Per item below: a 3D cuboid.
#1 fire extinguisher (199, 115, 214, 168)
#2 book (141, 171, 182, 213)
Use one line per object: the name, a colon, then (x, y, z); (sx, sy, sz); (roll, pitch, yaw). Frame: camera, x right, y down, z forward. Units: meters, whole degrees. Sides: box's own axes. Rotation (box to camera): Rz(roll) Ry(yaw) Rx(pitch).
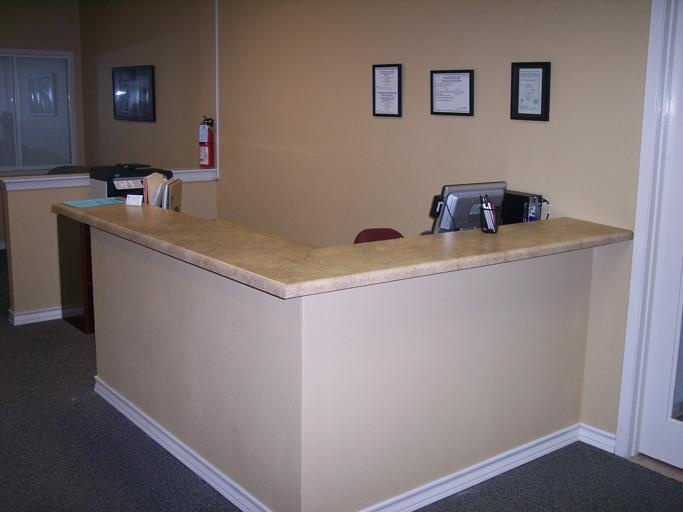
fire extinguisher: (-1.350, -1.151, 5.292); (0.158, 0.495, 0.136); (-4, 15, -18)
book: (-1.206, -0.426, 3.477); (0.173, 0.342, 0.334); (6, 17, 11)
